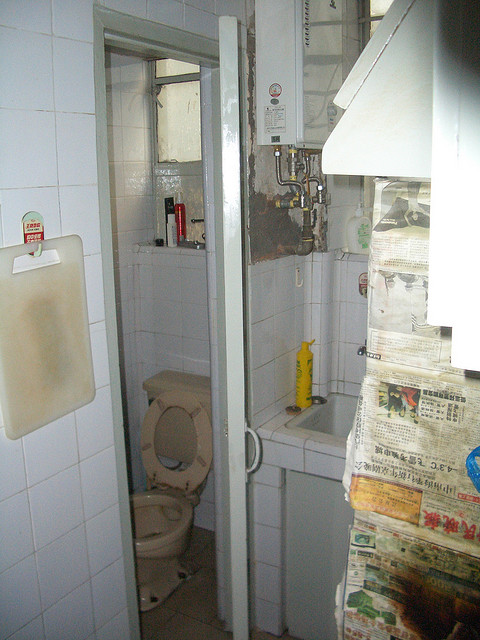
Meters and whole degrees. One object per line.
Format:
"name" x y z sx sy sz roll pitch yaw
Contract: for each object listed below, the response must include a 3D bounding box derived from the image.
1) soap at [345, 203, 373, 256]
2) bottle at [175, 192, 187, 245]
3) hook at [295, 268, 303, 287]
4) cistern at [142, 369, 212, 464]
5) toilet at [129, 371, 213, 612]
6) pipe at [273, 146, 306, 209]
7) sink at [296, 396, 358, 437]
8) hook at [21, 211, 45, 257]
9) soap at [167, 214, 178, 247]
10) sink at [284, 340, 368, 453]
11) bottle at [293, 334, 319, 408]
"soap" 0.558 -0.395 2.311 0.086 0.220 0.106 -2 -11 13
"bottle" -0.315 -0.555 2.773 0.064 0.265 0.249 -2 13 -7
"hook" 0.242 -0.178 2.103 0.009 0.101 0.048 8 19 30
"cistern" -0.297 0.485 2.506 0.357 0.442 0.256 9 17 26
"toilet" -0.359 0.800 2.439 0.302 0.926 0.611 9 14 9
"pipe" 0.182 -0.525 1.883 0.128 0.217 0.105 -3 12 -10
"sink" 0.378 0.432 2.205 0.227 0.135 0.171 -1 8 1
"hook" -0.441 -0.201 1.100 0.006 0.066 0.065 3 13 19
"soap" -0.346 -0.480 2.723 0.075 0.163 0.054 -11 16 -41
"sink" 0.304 0.278 1.912 0.172 0.285 0.346 10 21 33
"bottle" 0.276 0.216 2.173 0.080 0.274 0.161 4 13 23
